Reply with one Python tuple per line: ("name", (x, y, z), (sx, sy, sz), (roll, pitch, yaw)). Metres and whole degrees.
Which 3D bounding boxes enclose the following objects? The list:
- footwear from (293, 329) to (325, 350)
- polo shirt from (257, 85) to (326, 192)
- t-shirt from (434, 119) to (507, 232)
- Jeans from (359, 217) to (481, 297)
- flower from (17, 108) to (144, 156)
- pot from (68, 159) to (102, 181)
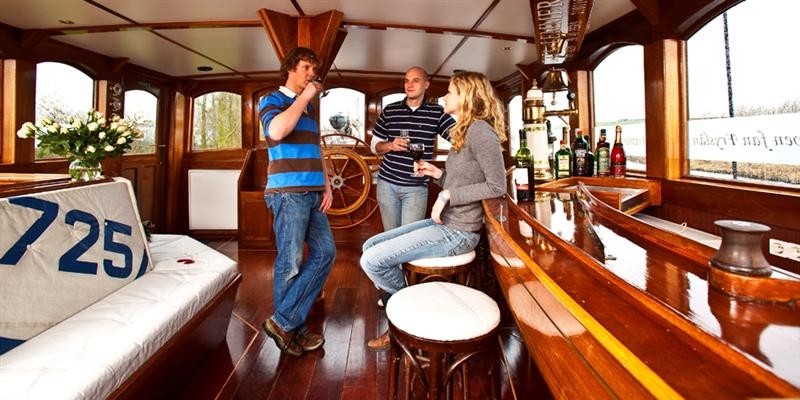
("footwear", (-0.848, 1.298, 4.214), (0.307, 0.126, 0.112), (-1, 8, 24))
("polo shirt", (-0.969, -0.545, 4.123), (0.515, 0.941, 0.355), (-5, 11, -16))
("t-shirt", (0.604, -0.223, 4.052), (0.556, 0.954, 0.952), (-1, 8, -8))
("Jeans", (0.145, 0.350, 4.045), (0.719, 0.947, 0.809), (4, 13, 22))
("flower", (-3.313, -0.706, 4.637), (0.922, 0.492, 0.865), (0, 2, -9))
("pot", (-2.837, -0.285, 4.180), (0.258, 0.224, 0.249), (1, 11, 0))
